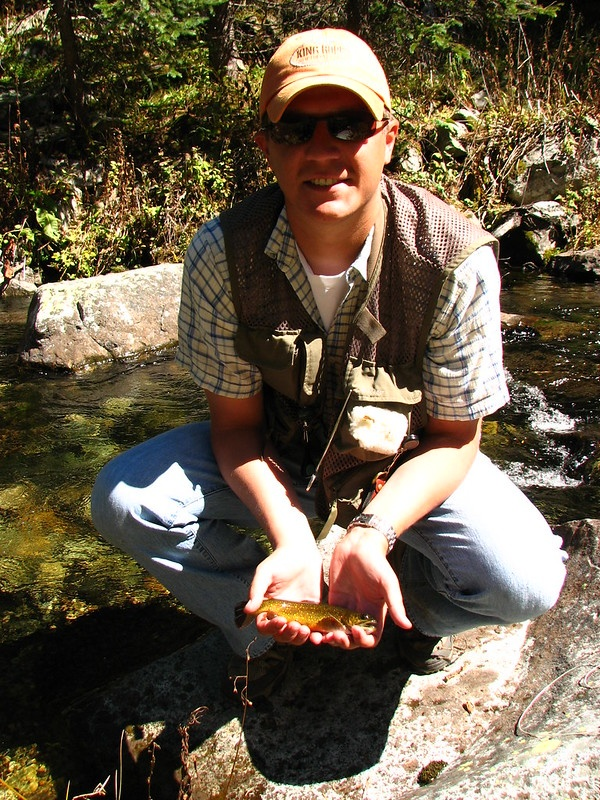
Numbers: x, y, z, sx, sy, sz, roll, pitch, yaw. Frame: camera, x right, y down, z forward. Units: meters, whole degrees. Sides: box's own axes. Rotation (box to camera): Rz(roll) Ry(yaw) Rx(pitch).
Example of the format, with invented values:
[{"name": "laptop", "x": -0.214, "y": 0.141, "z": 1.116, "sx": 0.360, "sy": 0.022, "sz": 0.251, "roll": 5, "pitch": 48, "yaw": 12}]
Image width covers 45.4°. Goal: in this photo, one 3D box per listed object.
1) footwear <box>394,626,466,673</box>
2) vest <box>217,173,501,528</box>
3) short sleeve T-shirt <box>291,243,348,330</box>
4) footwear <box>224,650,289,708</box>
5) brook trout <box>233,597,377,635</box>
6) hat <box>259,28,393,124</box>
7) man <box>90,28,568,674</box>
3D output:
[{"name": "footwear", "x": 0.365, "y": 0.746, "z": 2.120, "sx": 0.197, "sy": 0.176, "sz": 0.108, "roll": -4, "pitch": 40, "yaw": 0}, {"name": "vest", "x": 0.125, "y": -0.238, "z": 2.071, "sx": 0.903, "sy": 0.522, "sz": 0.301, "roll": 0, "pitch": 20, "yaw": 9}, {"name": "short sleeve T-shirt", "x": 0.055, "y": -0.327, "z": 2.124, "sx": 0.163, "sy": 0.220, "sz": 0.175, "roll": -6, "pitch": -21, "yaw": -14}, {"name": "footwear", "x": -0.127, "y": 0.800, "z": 2.042, "sx": 0.086, "sy": 0.160, "sz": 0.166, "roll": 29, "pitch": 60, "yaw": 33}, {"name": "brook trout", "x": 0.022, "y": 0.520, "z": 1.722, "sx": 0.279, "sy": 0.059, "sz": 0.088, "roll": 10, "pitch": 35, "yaw": -1}, {"name": "hat", "x": 0.059, "y": -0.850, "z": 1.945, "sx": 0.265, "sy": 0.163, "sz": 0.338, "roll": 0, "pitch": 0, "yaw": 2}, {"name": "man", "x": 0.107, "y": -0.085, "z": 2.013, "sx": 1.151, "sy": 1.864, "sz": 0.809, "roll": 13, "pitch": 15, "yaw": 39}]
